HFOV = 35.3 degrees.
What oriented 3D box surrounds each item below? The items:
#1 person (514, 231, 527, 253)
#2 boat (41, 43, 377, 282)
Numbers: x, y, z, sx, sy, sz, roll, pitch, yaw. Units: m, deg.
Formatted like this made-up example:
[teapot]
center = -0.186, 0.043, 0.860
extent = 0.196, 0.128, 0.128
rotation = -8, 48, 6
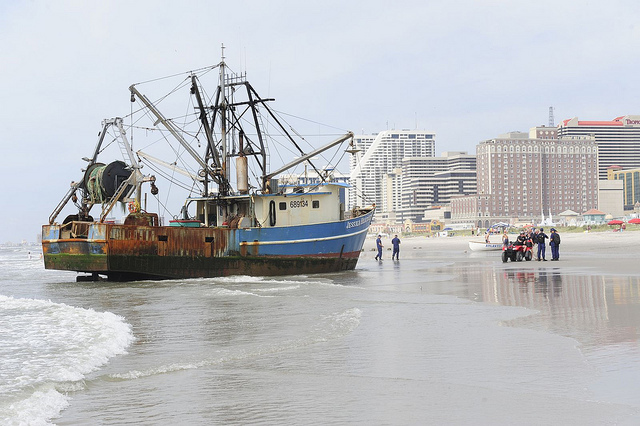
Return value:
[person]
center = 11.352, 1.586, 56.929
extent = 0.662, 1.069, 1.123
rotation = 0, 7, 11
[boat]
center = -4.570, -1.944, 51.619
extent = 5.833, 9.701, 19.619
rotation = 6, 6, 42
